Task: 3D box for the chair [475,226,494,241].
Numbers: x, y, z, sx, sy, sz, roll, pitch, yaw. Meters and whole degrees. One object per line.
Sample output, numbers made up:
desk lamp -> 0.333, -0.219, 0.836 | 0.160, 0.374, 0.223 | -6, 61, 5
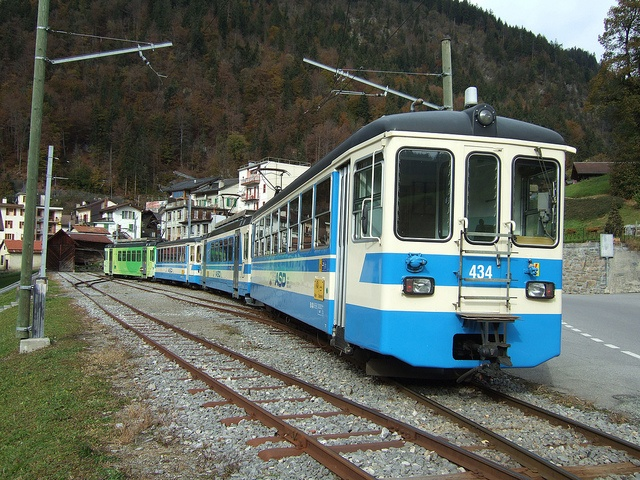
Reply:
chair -> 2.379, -0.098, 7.972 | 0.283, 0.254, 0.134 | 0, -1, 10
